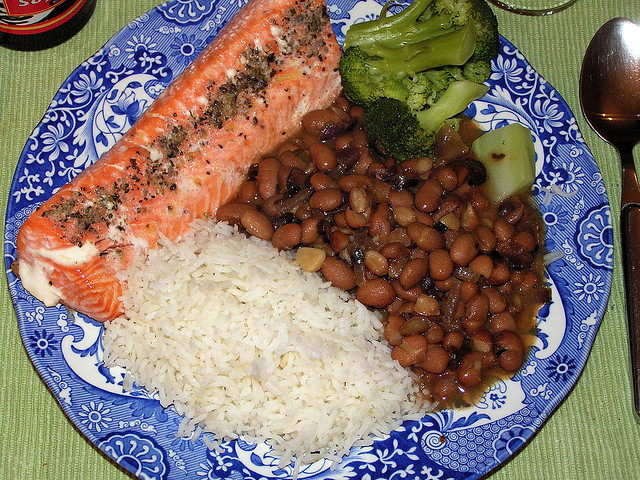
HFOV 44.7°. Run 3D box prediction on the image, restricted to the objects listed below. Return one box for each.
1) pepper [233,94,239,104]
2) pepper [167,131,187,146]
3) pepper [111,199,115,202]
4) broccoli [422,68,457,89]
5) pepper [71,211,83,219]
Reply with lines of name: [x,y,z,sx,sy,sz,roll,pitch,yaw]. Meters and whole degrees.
pepper: [-0.615,-1.019,5.606,0.020,0.019,0.080,21,97,-32]
pepper: [-1.005,-0.709,5.474,0.145,0.033,0.078,-37,86,-4]
pepper: [-1.445,-0.280,5.378,0.032,0.009,0.020,-1,92,-6]
broccoli: [0.886,-1.212,5.797,0.198,0.086,0.149,11,77,2]
pepper: [-1.682,-0.176,5.334,0.093,0.033,0.067,5,95,-11]
